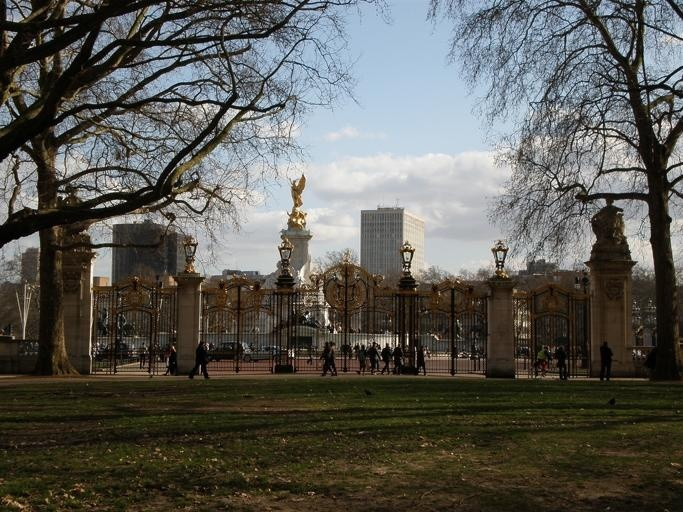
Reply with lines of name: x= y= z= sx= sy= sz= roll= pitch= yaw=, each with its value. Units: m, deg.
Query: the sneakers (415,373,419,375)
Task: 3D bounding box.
sneakers: x=2.888 y=4.608 z=49.054 sx=0.078 sy=0.147 sz=0.147 roll=2 pitch=5 yaw=34

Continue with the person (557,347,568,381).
person: x=8.222 y=4.038 z=47.208 sx=0.419 sy=1.190 sz=1.909 roll=0 pitch=4 yaw=10

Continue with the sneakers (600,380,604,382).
sneakers: x=9.185 y=4.410 z=44.531 sx=0.134 sy=0.089 sz=0.124 roll=2 pitch=7 yaw=11

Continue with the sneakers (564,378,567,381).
sneakers: x=8.066 y=4.482 z=45.593 sx=0.096 sy=0.081 sz=0.121 roll=4 pitch=-10 yaw=-4

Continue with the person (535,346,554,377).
person: x=7.941 y=4.135 z=49.938 sx=0.825 sy=1.101 sz=1.823 roll=2 pitch=5 yaw=20

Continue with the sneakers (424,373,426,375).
sneakers: x=3.216 y=4.634 z=49.326 sx=0.063 sy=0.116 sz=0.114 roll=3 pitch=1 yaw=26
